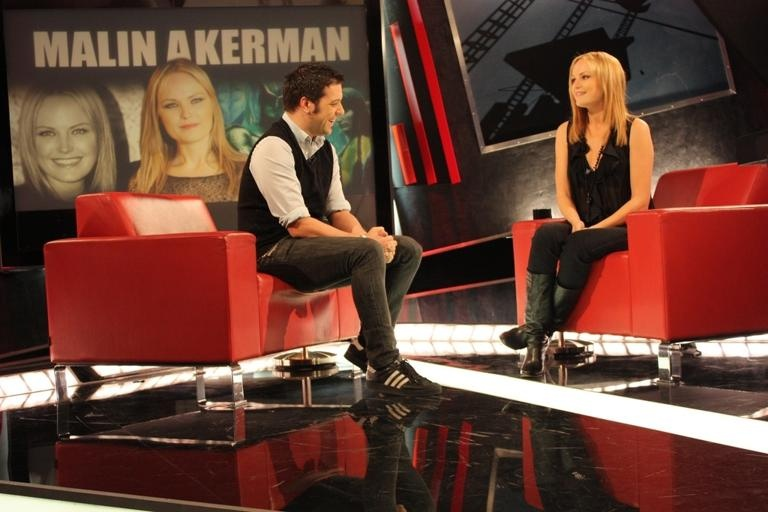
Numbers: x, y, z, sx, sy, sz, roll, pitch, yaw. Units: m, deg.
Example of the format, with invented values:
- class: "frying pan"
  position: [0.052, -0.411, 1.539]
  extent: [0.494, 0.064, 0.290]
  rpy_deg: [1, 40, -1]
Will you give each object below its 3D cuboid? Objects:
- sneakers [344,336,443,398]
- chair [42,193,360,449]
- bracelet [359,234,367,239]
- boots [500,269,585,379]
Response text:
- class: "sneakers"
  position: [-0.024, 0.532, 3.102]
  extent: [0.552, 0.201, 0.178]
  rpy_deg: [12, 12, 6]
- class: "chair"
  position: [-0.864, 0.276, 3.570]
  extent: [1.027, 1.103, 1.358]
  rpy_deg: [-3, -2, 21]
- class: "bracelet"
  position: [-0.094, -0.096, 3.157]
  extent: [0.024, 0.017, 0.024]
  rpy_deg: [-1, 8, 1]
- class: "boots"
  position: [0.797, 0.321, 3.380]
  extent: [0.525, 0.538, 0.319]
  rpy_deg: [9, 3, 21]
